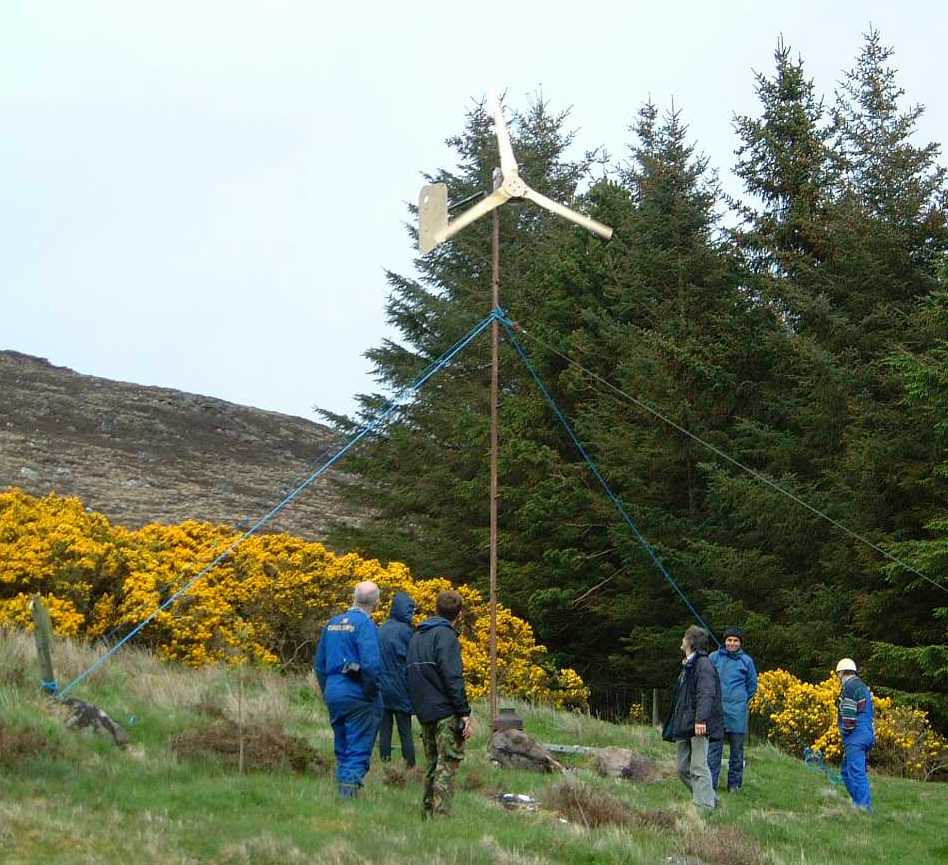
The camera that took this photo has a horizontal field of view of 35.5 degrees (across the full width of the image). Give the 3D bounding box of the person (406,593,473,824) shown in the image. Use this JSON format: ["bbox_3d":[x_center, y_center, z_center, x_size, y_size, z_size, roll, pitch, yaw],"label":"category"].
[{"bbox_3d":[-0.306,2.657,14.593,0.652,2.181,0.625,1,-13,12],"label":"person"}]

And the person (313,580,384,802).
[{"bbox_3d":[-1.179,2.543,14.802,0.538,2.073,0.582,14,-16,-37],"label":"person"}]

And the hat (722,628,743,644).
[{"bbox_3d":[3.196,2.477,18.098,0.153,0.184,0.189,-1,1,7],"label":"hat"}]

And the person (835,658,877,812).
[{"bbox_3d":[4.581,3.565,17.721,0.405,1.761,0.736,1,-13,14],"label":"person"}]

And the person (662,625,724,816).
[{"bbox_3d":[2.521,3.148,16.445,0.445,1.988,0.704,11,-15,-30],"label":"person"}]
